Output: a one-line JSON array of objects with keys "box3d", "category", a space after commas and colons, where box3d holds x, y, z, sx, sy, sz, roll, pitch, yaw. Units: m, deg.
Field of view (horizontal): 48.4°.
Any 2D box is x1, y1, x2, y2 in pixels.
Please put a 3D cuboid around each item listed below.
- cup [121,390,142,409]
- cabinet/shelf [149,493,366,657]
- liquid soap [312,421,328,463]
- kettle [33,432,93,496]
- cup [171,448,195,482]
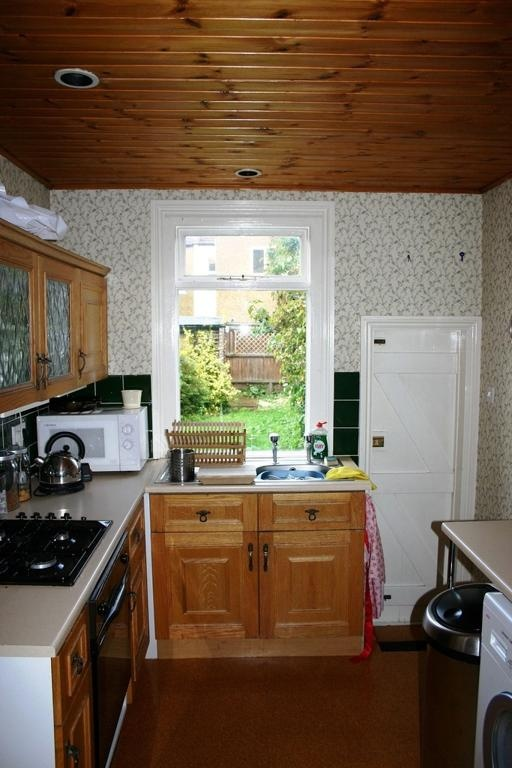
[{"box3d": [-0.684, 0.083, 3.129, 0.094, 0.081, 0.091, -3, 0, 0], "category": "cup"}, {"box3d": [0.029, 0.795, 3.127, 1.299, 1.211, 0.734, -1, -2, -1], "category": "cabinet/shelf"}, {"box3d": [0.363, 0.341, 3.276, 0.093, 0.231, 0.061, 0, 2, -5], "category": "liquid soap"}, {"box3d": [-0.883, 0.347, 2.627, 0.273, 0.303, 0.240, 0, 4, -13], "category": "kettle"}, {"box3d": [-0.364, 0.406, 2.840, 0.129, 0.158, 0.118, 0, 2, 0], "category": "cup"}]
